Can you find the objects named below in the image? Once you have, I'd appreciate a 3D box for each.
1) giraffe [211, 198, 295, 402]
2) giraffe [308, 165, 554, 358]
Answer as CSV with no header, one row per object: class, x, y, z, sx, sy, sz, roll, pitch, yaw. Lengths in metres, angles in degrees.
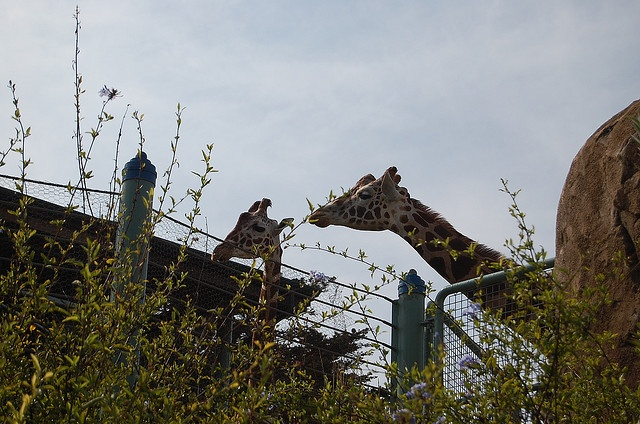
giraffe,-0.488,0.691,10.690,0.661,1.840,0.536,28,-69,-13
giraffe,0.939,0.398,13.941,2.340,1.279,0.550,11,-2,-31
